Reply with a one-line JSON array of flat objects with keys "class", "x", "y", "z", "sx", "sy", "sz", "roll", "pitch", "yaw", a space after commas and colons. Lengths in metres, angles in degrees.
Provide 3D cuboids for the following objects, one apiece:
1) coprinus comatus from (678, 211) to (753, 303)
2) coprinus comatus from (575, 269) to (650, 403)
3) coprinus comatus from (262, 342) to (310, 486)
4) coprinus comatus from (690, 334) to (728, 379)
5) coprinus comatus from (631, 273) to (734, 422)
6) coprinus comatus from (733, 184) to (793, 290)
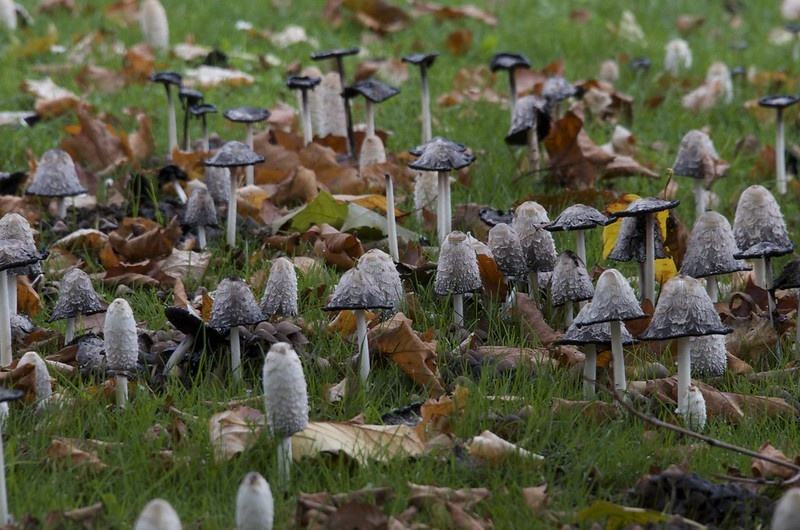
[{"class": "coprinus comatus", "x": 1.710, "y": -0.043, "z": 6.195, "sx": 0.376, "sy": 0.509, "sz": 0.426, "roll": -6, "pitch": -1, "yaw": -7}, {"class": "coprinus comatus", "x": 1.118, "y": 0.345, "z": 5.634, "sx": 0.363, "sy": 0.652, "sz": 0.331, "roll": -1, "pitch": -4, "yaw": -30}, {"class": "coprinus comatus", "x": -0.556, "y": 0.732, "z": 5.265, "sx": 0.203, "sy": 0.726, "sz": 0.235, "roll": -1, "pitch": 4, "yaw": -6}, {"class": "coprinus comatus", "x": 1.714, "y": 0.507, "z": 5.948, "sx": 0.208, "sy": 0.291, "sz": 0.218, "roll": 2, "pitch": -6, "yaw": -4}, {"class": "coprinus comatus", "x": 1.491, "y": 0.413, "z": 5.615, "sx": 0.441, "sy": 0.731, "sz": 0.343, "roll": 0, "pitch": 4, "yaw": 15}, {"class": "coprinus comatus", "x": 2.029, "y": -0.219, "z": 6.253, "sx": 0.393, "sy": 0.580, "sz": 0.381, "roll": -2, "pitch": -5, "yaw": -11}]
